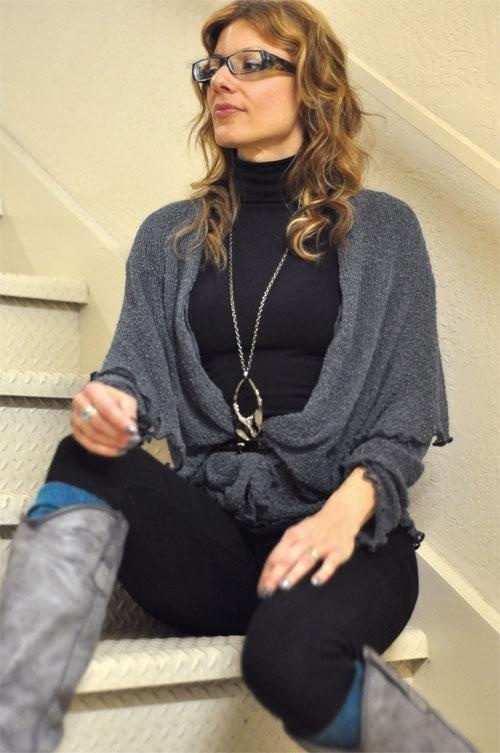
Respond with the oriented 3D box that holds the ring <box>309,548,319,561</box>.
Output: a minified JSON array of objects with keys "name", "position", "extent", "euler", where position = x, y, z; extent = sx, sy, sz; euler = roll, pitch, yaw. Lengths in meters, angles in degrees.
[{"name":"ring","position":[0.065,0.180,0.706],"extent":[0.008,0.013,0.011],"euler":[-2,-70,-4]}]
